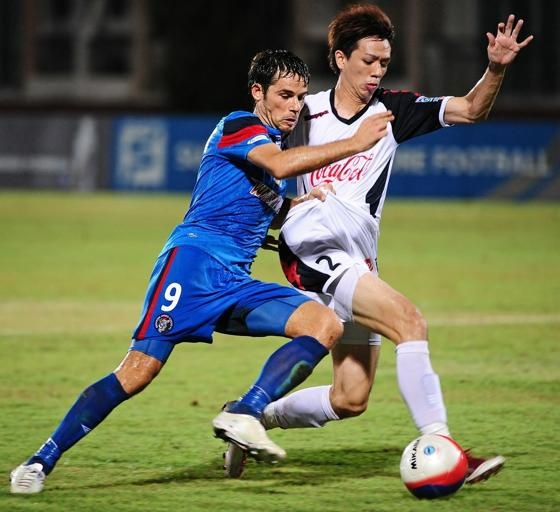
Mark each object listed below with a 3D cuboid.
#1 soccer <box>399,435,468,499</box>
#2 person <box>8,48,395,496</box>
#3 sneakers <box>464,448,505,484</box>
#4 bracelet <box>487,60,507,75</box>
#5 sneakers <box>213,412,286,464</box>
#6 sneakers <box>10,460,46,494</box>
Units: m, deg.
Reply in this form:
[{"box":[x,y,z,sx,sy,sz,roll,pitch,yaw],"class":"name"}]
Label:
[{"box":[0.638,0.878,3.547,0.301,0.202,0.224,-4,27,31],"class":"soccer"},{"box":[-0.275,0.184,3.601,1.009,1.602,0.986,4,8,39],"class":"person"},{"box":[0.859,0.902,3.688,0.100,0.090,0.249,-2,-21,-34],"class":"sneakers"},{"box":[1.003,-0.873,4.003,0.067,0.021,0.089,23,-9,-40],"class":"bracelet"},{"box":[-0.120,0.706,3.348,0.279,0.197,0.125,0,6,0],"class":"sneakers"},{"box":[-1.064,0.932,3.626,0.197,0.133,0.116,7,-8,-4],"class":"sneakers"}]
